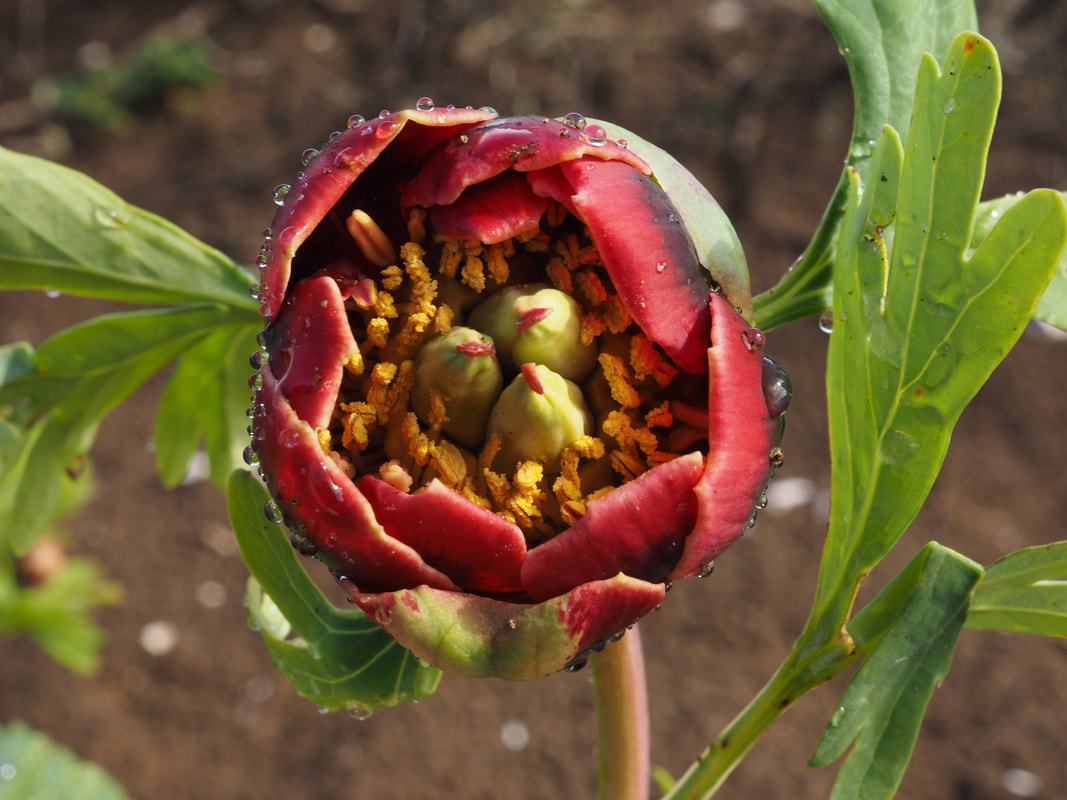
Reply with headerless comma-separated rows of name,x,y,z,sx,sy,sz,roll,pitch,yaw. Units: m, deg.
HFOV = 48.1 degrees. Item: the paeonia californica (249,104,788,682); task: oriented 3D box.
paeonia californica,-0.032,-0.069,1.422,0.532,0.481,0.642,-1,105,-8
